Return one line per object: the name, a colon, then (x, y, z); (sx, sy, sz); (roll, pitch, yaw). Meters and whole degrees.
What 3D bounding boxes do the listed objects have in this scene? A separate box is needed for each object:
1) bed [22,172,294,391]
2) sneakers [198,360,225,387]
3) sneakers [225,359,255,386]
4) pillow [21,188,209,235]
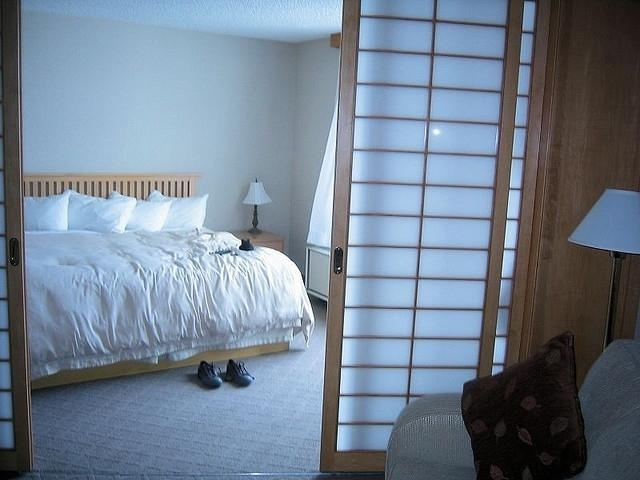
bed: (-1.758, 0.577, 5.111); (2.032, 1.305, 2.014); (-1, 17, -29)
sneakers: (-0.824, 1.000, 4.057); (0.210, 0.140, 0.187); (3, 13, 0)
sneakers: (-0.605, 1.009, 4.124); (0.109, 0.126, 0.287); (0, 0, -34)
pillow: (-1.995, -0.275, 5.451); (1.686, 0.392, 0.460); (-6, 15, -33)
